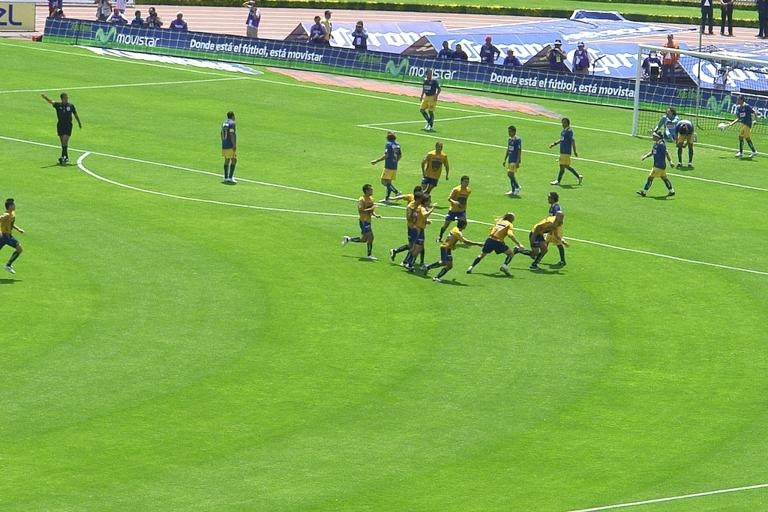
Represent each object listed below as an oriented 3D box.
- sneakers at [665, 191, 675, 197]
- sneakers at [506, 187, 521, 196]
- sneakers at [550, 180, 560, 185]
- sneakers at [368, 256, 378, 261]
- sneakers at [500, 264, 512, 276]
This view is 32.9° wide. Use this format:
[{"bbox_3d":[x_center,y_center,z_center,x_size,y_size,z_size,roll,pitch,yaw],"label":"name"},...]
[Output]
[{"bbox_3d":[11.683,-2.552,53.127,0.170,0.159,0.436,7,21,32],"label":"sneakers"},{"bbox_3d":[5.193,-2.537,51.937,0.661,0.190,0.281,-2,-18,42],"label":"sneakers"},{"bbox_3d":[7.106,-3.039,53.987,0.440,0.149,0.147,4,8,24],"label":"sneakers"},{"bbox_3d":[-0.304,0.054,44.538,0.365,0.148,0.274,-5,15,-41],"label":"sneakers"},{"bbox_3d":[4.129,0.456,44.063,0.584,0.237,0.197,33,-5,-38],"label":"sneakers"}]
